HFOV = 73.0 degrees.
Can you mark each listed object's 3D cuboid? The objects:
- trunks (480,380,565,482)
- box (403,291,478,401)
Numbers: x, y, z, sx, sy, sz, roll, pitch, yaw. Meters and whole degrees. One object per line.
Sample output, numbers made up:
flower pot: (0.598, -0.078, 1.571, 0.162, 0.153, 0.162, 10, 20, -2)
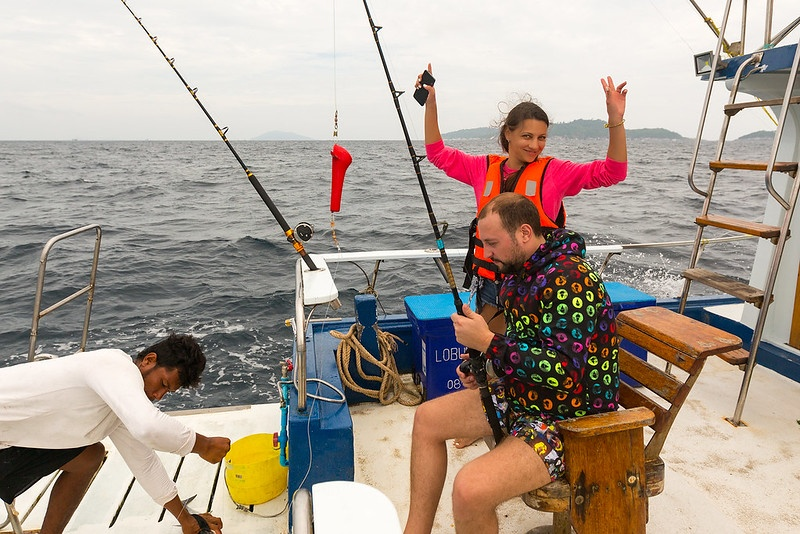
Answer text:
trunks: (0.557, 0.846, 2.892, 0.338, 0.361, 0.513, 1, 9, -31)
box: (0.357, 0.678, 4.350, 0.625, 0.678, 0.559, -3, 11, -3)
